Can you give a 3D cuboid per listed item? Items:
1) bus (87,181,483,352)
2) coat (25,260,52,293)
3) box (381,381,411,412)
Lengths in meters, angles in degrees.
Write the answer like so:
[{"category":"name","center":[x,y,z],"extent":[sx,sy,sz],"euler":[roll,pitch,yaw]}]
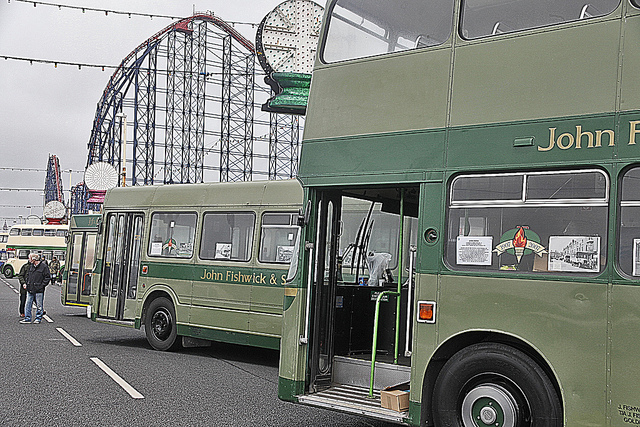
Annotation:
[{"category":"bus","center":[-0.960,1.358,12.718],"extent":[11.111,4.259,3.616],"euler":[0,-3,32]},{"category":"coat","center":[-9.241,2.084,16.271],"extent":[0.859,1.045,0.537],"euler":[2,-3,-11]},{"category":"box","center":[0.932,2.083,5.690],"extent":[0.463,0.176,0.358],"euler":[-3,-6,-36]}]
